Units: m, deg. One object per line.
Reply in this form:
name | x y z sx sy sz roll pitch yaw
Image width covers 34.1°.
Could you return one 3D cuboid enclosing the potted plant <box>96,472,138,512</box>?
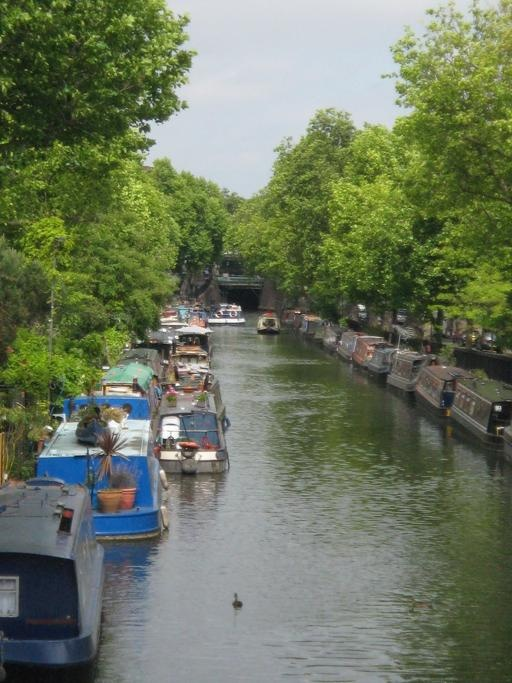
potted plant | -3.777 4.101 22.574 1.190 1.152 1.051 2 -5 -18
